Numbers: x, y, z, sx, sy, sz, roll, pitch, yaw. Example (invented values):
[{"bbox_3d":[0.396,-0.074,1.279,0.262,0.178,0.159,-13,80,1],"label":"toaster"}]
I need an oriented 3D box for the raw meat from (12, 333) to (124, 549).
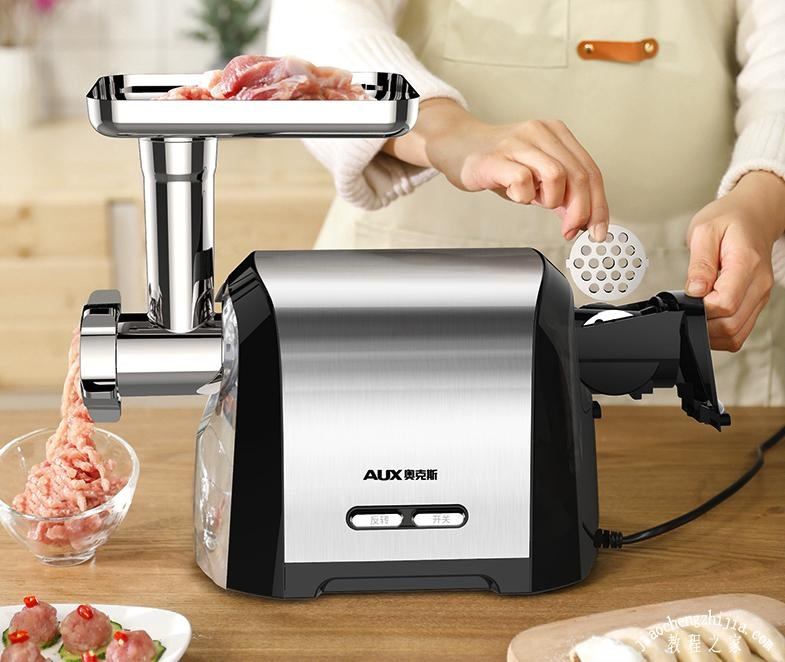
[{"bbox_3d":[-0.252,0.107,0.714,0.089,0.185,0.085,9,20,13],"label":"raw meat"}]

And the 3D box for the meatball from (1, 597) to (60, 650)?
[{"bbox_3d":[-0.255,0.208,0.604,0.027,0.035,0.040,7,10,20],"label":"meatball"}]

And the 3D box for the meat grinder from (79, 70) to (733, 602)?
[{"bbox_3d":[0.013,-0.012,0.675,0.528,0.355,0.316,0,42,-2],"label":"meat grinder"}]
